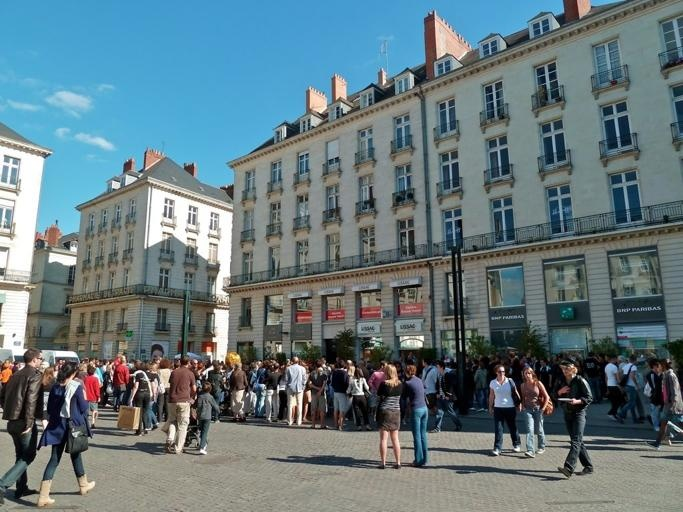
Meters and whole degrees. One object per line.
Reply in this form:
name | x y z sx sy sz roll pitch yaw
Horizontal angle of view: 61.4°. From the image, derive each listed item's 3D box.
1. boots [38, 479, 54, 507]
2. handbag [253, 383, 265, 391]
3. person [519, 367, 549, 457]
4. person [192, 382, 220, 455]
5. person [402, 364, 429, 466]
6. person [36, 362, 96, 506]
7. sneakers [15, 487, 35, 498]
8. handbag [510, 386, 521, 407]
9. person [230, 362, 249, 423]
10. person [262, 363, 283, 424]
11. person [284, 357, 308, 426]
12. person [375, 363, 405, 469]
boots | -6.381 5.096 12.399 0.348 0.536 0.261 0 -1 -35
handbag | -3.414 5.375 23.496 0.516 0.344 0.279 -5 -22 12
person | 5.304 4.260 15.804 0.706 2.427 0.751 -1 -1 13
person | -3.956 4.639 16.523 0.533 2.044 0.733 -1 -1 16
person | 1.926 4.176 15.071 0.602 2.518 0.678 0 -1 9
person | -6.184 3.901 12.879 1.104 2.980 0.966 0 -1 -20
sneakers | -7.009 5.302 12.877 0.530 0.198 0.172 -2 -6 -19
handbag | 4.790 3.819 15.726 0.193 0.540 0.354 -1 -1 34
person | -4.089 5.330 22.432 0.560 2.241 0.693 0 -1 1
person | -2.714 5.378 22.600 0.605 2.228 0.923 0 -1 -7
person | -1.734 5.103 21.783 0.789 2.655 1.356 0 -1 -3
person | 1.268 4.170 15.328 0.624 2.750 1.566 0 -1 5
